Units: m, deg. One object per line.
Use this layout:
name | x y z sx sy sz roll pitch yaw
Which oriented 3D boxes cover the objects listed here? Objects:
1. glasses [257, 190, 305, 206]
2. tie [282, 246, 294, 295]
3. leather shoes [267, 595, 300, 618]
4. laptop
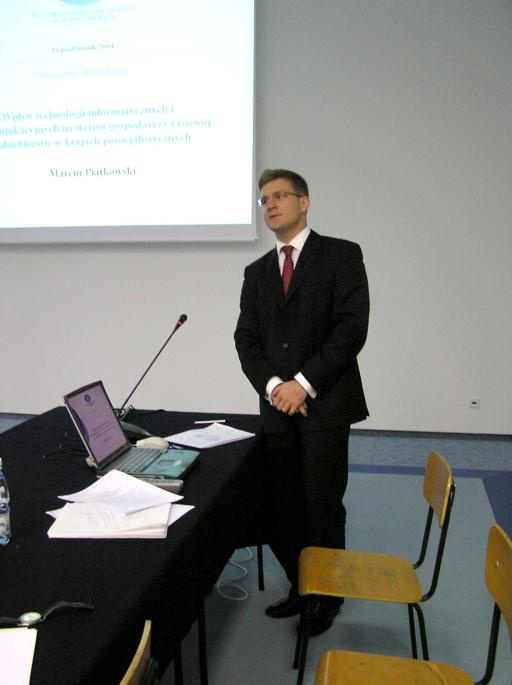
glasses | 0.048 -0.449 1.729 0.169 0.046 0.098 8 10 37
tie | 0.094 -0.228 1.727 0.027 0.162 0.021 -7 -25 18
leather shoes | 0.072 0.854 1.775 0.139 0.083 0.045 3 -10 -1
laptop | -0.309 0.247 1.365 0.264 0.177 0.258 6 11 6
